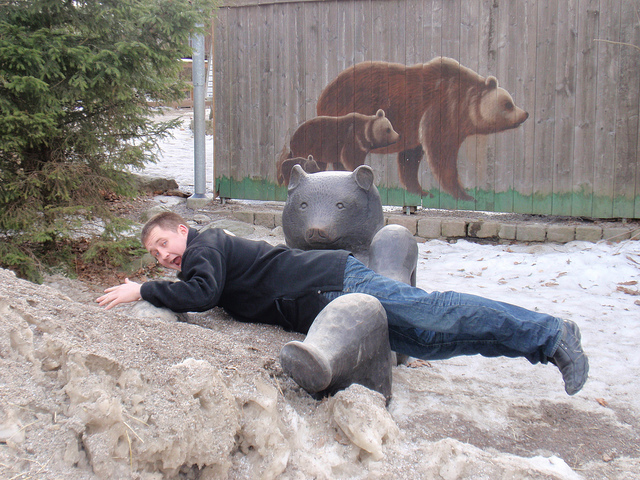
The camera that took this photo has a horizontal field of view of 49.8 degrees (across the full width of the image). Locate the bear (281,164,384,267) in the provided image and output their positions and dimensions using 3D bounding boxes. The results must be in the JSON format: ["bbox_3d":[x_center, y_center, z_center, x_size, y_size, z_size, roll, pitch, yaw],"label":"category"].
[{"bbox_3d":[0.097,-0.232,6.176,0.823,1.023,0.945,3,9,31],"label":"bear"}]
